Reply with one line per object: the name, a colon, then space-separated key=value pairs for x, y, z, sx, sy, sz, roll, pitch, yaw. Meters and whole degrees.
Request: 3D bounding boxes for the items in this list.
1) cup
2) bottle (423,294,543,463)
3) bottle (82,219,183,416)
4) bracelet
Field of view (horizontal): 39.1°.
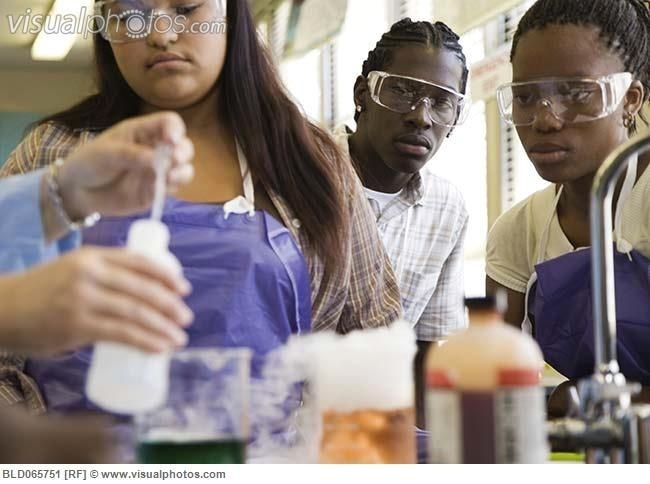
cup: x=-0.068 y=0.221 z=1.355 sx=0.365 sy=0.258 sz=0.196 roll=-1 pitch=-3 yaw=-3
bottle: x=0.244 y=0.234 z=1.357 sx=0.174 sy=0.299 sz=0.170 roll=0 pitch=-11 yaw=0
bottle: x=-0.280 y=0.117 z=1.336 sx=0.117 sy=0.286 sz=0.169 roll=6 pitch=13 yaw=-11
bracelet: x=-0.448 y=-0.080 z=1.649 sx=0.096 sy=0.121 sz=0.037 roll=-12 pitch=17 yaw=17
